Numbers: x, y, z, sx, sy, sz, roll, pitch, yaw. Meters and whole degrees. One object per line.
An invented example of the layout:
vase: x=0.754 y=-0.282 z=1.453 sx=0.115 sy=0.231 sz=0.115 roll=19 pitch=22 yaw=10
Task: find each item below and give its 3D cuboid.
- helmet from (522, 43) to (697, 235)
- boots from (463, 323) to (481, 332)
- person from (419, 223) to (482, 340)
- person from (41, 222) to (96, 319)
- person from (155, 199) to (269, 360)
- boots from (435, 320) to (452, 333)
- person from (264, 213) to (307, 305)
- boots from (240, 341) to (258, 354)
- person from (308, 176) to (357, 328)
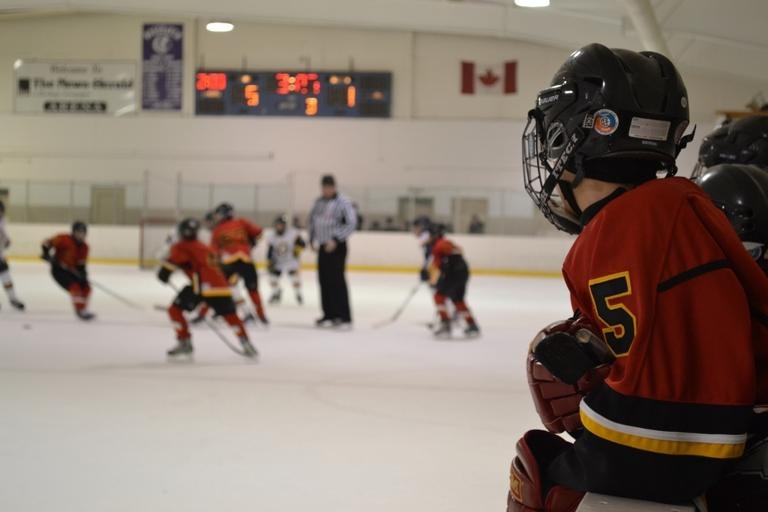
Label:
helmet: x=0.588 y=-0.306 z=2.336 sx=0.463 sy=0.519 sz=0.560 roll=3 pitch=-5 yaw=-12
boots: x=0.710 y=0.577 z=6.230 sx=0.090 sy=0.077 sz=0.074 roll=2 pitch=0 yaw=25
person: x=0.538 y=0.187 z=6.242 sx=0.473 sy=0.939 sz=0.416 roll=-3 pitch=4 yaw=-5
person: x=-2.650 y=0.142 z=6.394 sx=0.349 sy=0.896 sz=1.032 roll=-4 pitch=4 yaw=-22
person: x=-1.168 y=0.224 z=5.011 sx=0.590 sy=0.961 sz=0.380 roll=-3 pitch=4 yaw=-16
boots: x=0.492 y=0.576 z=6.321 sx=0.094 sy=0.135 sz=0.138 roll=2 pitch=-13 yaw=1
person: x=-1.057 y=0.033 z=8.158 sx=0.379 sy=0.969 sz=0.737 roll=-3 pitch=4 yaw=-9
boots: x=-0.924 y=0.603 z=5.255 sx=0.080 sy=0.149 sz=0.060 roll=5 pitch=47 yaw=20
person: x=-0.438 y=-0.058 z=6.727 sx=0.418 sy=1.338 sz=0.409 roll=-3 pitch=4 yaw=-8
